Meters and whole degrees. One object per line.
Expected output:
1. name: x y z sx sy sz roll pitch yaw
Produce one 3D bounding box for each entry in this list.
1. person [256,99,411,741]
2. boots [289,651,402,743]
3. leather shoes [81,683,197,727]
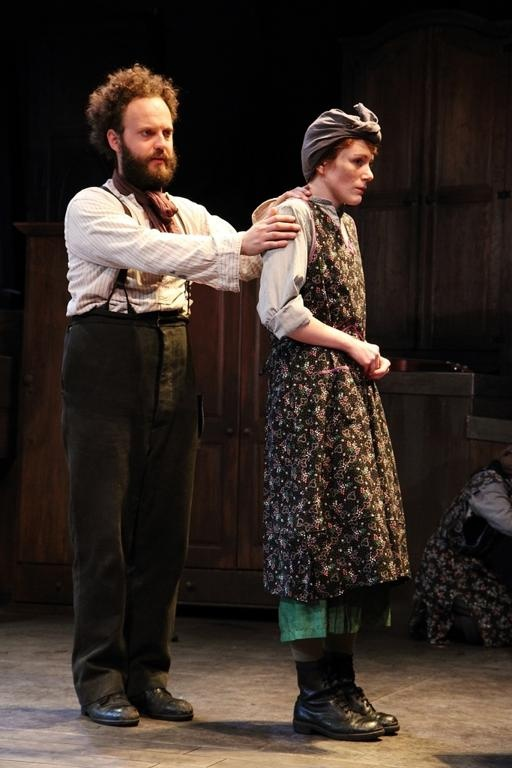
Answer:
1. person: 0.175 0.064 1.752 0.365 1.146 0.327 3 1 3
2. boots: 0.152 0.697 1.774 0.300 0.194 0.123 -9 -10 36
3. leather shoes: -0.272 0.749 1.821 0.232 0.064 0.166 2 0 -33
